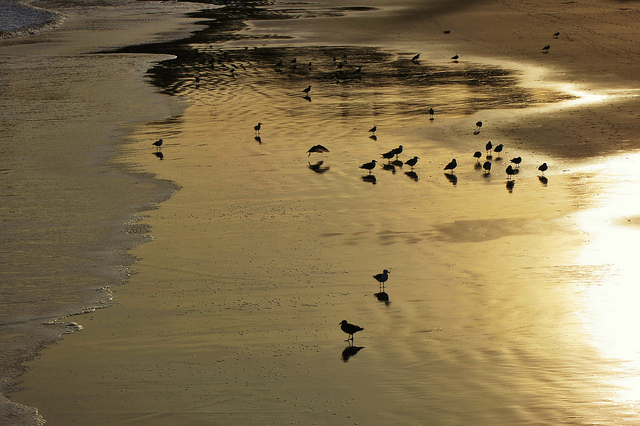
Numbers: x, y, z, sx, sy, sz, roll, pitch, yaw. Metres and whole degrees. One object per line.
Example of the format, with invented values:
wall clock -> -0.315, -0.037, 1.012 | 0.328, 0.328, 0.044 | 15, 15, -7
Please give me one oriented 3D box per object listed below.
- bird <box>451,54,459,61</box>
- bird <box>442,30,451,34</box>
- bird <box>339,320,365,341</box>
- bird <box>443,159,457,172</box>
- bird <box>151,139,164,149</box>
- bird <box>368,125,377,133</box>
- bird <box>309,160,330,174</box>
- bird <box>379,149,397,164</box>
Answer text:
bird -> 8.616, -10.000, 65.237 | 0.278, 0.407, 0.516 | -29, 32, 28
bird -> 9.504, -13.614, 76.409 | 0.694, 0.247, 1.187 | -1, 8, 0
bird -> 0.999, 3.635, 31.519 | 0.634, 0.558, 0.593 | -3, 41, -9
bird -> 5.338, -1.943, 41.551 | 0.437, 0.765, 0.497 | 11, 45, 4
bird -> -7.213, -3.084, 45.089 | 0.465, 0.566, 0.711 | -4, 40, -10
bird -> 2.418, -3.852, 47.136 | 0.338, 0.393, 0.337 | 6, 42, 0
bird -> -0.095, -1.848, 42.213 | 0.797, 0.219, 0.511 | 7, 40, 18
bird -> 2.903, -2.388, 42.900 | 0.585, 0.682, 0.643 | 9, 42, 3
